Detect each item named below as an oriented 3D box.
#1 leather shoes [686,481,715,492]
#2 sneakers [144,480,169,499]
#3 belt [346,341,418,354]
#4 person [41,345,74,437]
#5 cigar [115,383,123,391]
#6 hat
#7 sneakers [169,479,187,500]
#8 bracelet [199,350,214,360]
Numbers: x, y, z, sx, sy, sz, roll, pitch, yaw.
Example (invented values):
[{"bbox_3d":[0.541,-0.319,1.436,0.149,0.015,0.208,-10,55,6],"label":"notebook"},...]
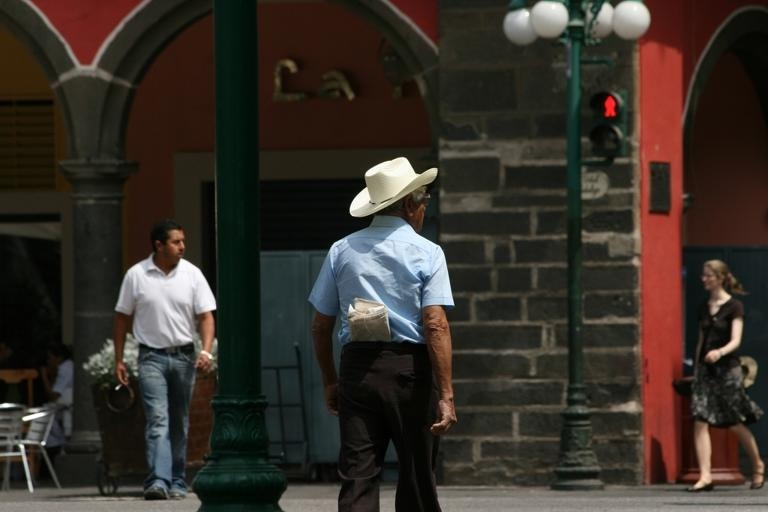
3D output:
[{"bbox_3d":[3.694,2.834,23.455,0.348,0.133,0.115,5,-6,-5],"label":"leather shoes"},{"bbox_3d":[-2.555,2.754,22.468,0.240,0.223,0.104,-2,-9,-11],"label":"sneakers"},{"bbox_3d":[0.000,0.964,19.771,0.742,0.146,0.101,-3,-8,1],"label":"belt"},{"bbox_3d":[-4.141,1.831,25.497,0.342,1.153,0.493,-5,-47,-3],"label":"person"},{"bbox_3d":[-3.090,1.601,23.279,0.062,0.086,0.024,-12,38,-31],"label":"cigar"},{"bbox_3d":[0.097,-0.705,20.075,0.731,0.285,0.635,-35,16,-34],"label":"hat"},{"bbox_3d":[-2.326,2.760,22.638,0.196,0.217,0.217,-2,-8,-6],"label":"sneakers"},{"bbox_3d":[-2.015,1.209,22.675,0.144,0.104,0.138,1,2,-4],"label":"bracelet"}]
